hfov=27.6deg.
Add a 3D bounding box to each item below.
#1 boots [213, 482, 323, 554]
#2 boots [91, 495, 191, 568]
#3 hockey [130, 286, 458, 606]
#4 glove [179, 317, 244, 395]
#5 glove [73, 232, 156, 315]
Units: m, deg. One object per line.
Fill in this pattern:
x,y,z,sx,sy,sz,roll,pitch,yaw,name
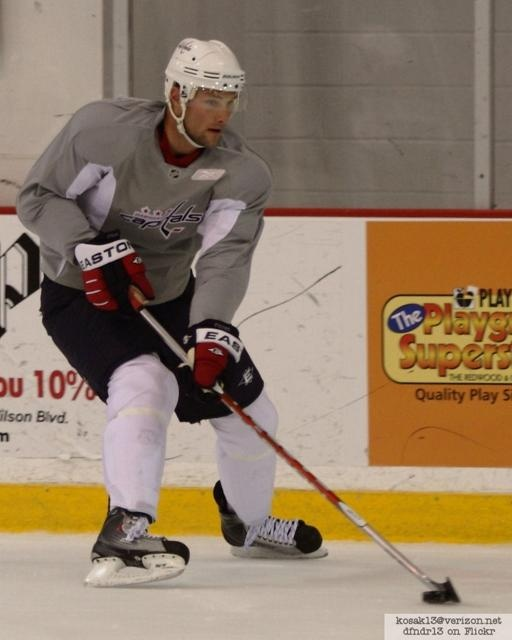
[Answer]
0.068,0.623,3.238,0.421,0.218,0.155,-2,26,8,boots
-0.297,0.522,2.568,0.264,0.132,0.080,13,-10,-32,boots
0.150,0.408,3.216,1.195,0.164,0.126,41,-19,12,hockey
-0.108,0.092,2.726,0.139,0.161,0.075,28,-1,17,glove
-0.393,-0.114,2.764,0.288,0.197,0.066,30,-13,37,glove
